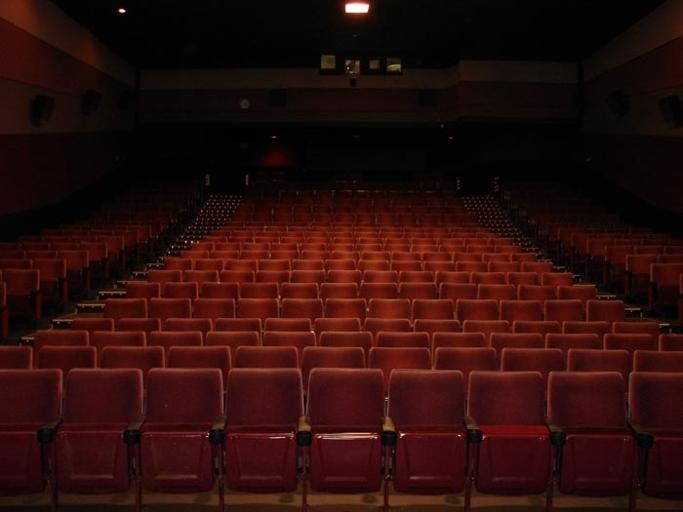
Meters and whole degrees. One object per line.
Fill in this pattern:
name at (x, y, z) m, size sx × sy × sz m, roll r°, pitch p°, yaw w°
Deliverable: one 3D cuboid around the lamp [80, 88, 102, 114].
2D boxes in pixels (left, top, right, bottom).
lamp at (-4.959, -3.017, 10.809) m, size 0.102 × 0.438 × 0.439 m, roll 22°, pitch -76°, yaw 28°
